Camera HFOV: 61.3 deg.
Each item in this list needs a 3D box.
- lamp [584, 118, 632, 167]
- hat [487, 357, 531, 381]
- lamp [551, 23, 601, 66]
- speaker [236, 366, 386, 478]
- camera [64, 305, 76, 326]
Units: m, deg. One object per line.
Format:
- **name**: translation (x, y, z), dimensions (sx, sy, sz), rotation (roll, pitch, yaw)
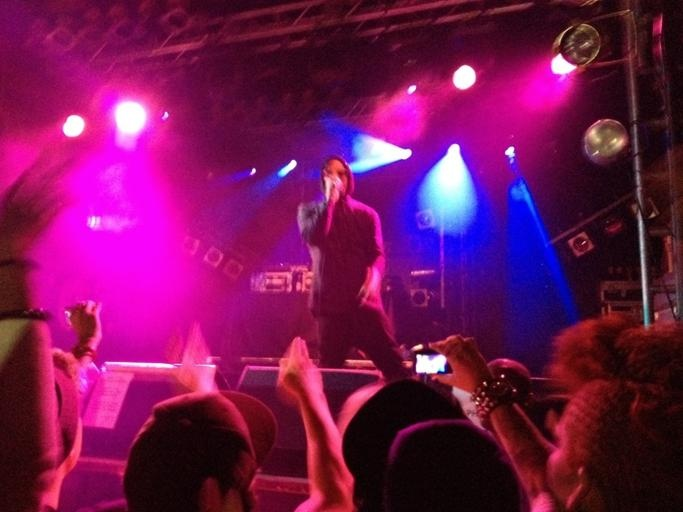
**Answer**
- **lamp**: translation (2.192, -0.950, 4.795), dimensions (0.364, 0.293, 0.289), rotation (-10, -19, 29)
- **hat**: translation (0.905, 0.593, 3.074), dimensions (0.234, 0.071, 0.248), rotation (4, -1, -4)
- **lamp**: translation (1.918, -1.688, 4.701), dimensions (0.308, 0.328, 0.327), rotation (36, 24, 14)
- **speaker**: translation (-0.261, 1.048, 3.839), dimensions (0.883, 0.537, 0.635), rotation (3, -5, 4)
- **camera**: translation (-1.504, 0.328, 3.200), dimensions (0.047, 0.150, 0.102), rotation (3, -3, -23)
